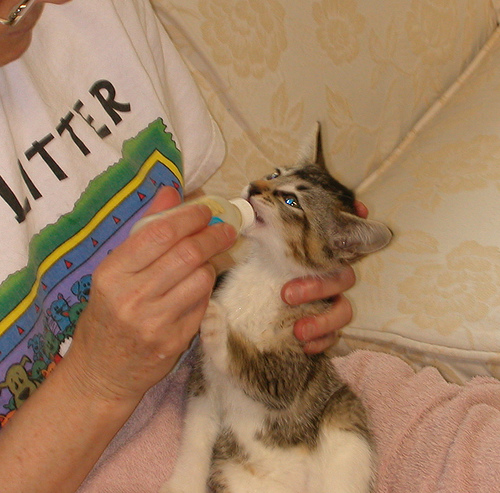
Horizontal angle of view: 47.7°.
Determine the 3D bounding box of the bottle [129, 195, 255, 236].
[{"bbox_3d":[-0.139,-0.078,1.447,0.094,0.134,0.370,-1,7,42],"label":"bottle"}]
